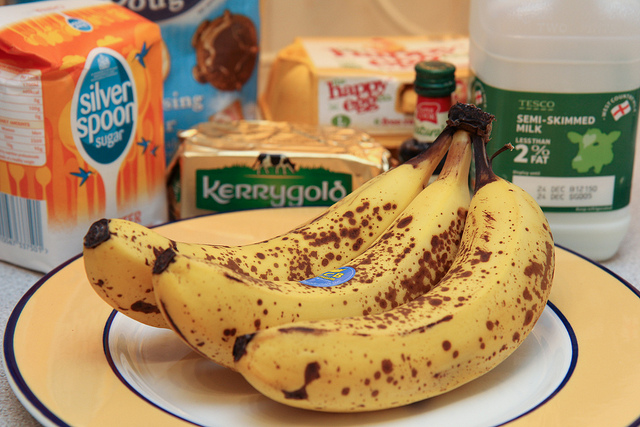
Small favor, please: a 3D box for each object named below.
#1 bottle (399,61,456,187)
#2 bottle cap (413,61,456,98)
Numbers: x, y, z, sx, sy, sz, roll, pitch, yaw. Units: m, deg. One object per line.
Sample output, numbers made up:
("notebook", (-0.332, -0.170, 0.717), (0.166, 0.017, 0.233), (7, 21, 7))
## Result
("bottle", (0.167, -0.160, 0.984), (0.076, 0.212, 0.085), (13, 15, 23))
("bottle cap", (0.173, -0.203, 0.941), (0.059, 0.043, 0.056), (5, 31, 16))
